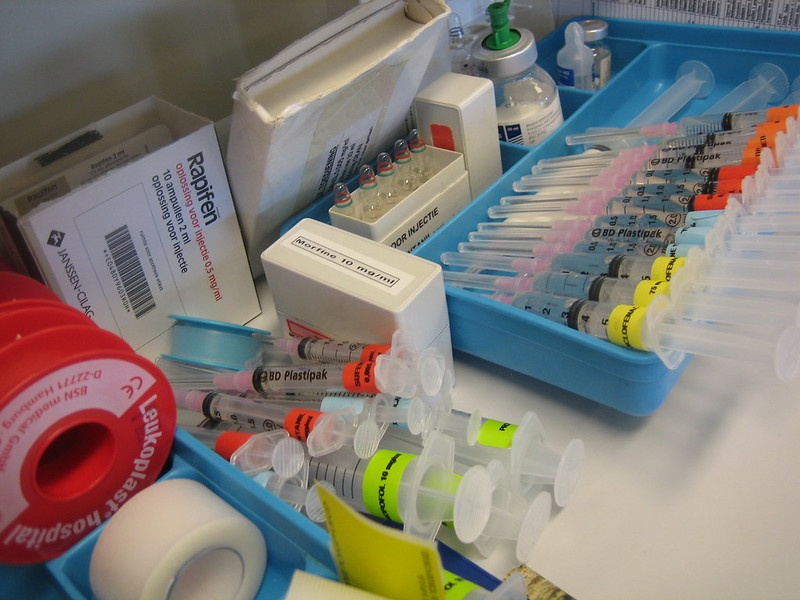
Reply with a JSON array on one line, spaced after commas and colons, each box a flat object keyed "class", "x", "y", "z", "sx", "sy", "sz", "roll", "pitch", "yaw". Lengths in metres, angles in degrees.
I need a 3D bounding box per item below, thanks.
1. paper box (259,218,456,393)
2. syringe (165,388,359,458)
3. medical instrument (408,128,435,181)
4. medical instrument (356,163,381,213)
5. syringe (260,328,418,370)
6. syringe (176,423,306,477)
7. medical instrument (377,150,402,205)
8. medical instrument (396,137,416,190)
[{"class": "paper box", "x": -0.074, "y": 0.015, "z": 1.010, "sx": 0.247, "sy": 0.224, "sz": 0.098, "roll": 31, "pitch": 61, "yaw": 21}, {"class": "syringe", "x": -0.213, "y": 0.193, "z": 0.943, "sx": 0.292, "sy": 0.067, "sz": 0.063, "roll": 11, "pitch": 23, "yaw": 41}, {"class": "medical instrument", "x": 0.035, "y": -0.299, "z": 1.225, "sx": 0.046, "sy": 0.093, "sz": 0.046, "roll": -27, "pitch": 35, "yaw": -31}, {"class": "medical instrument", "x": -0.060, "y": -0.209, "z": 1.174, "sx": 0.051, "sy": 0.104, "sz": 0.053, "roll": 0, "pitch": 11, "yaw": 35}, {"class": "syringe", "x": -0.096, "y": 0.081, "z": 1.007, "sx": 0.285, "sy": 0.053, "sz": 0.051, "roll": 3, "pitch": 16, "yaw": 37}, {"class": "syringe", "x": -0.231, "y": 0.204, "z": 0.920, "sx": 0.177, "sy": 0.049, "sz": 0.089, "roll": 11, "pitch": 28, "yaw": 31}, {"class": "medical instrument", "x": -0.028, "y": -0.240, "z": 1.195, "sx": 0.044, "sy": 0.100, "sz": 0.043, "roll": -5, "pitch": 24, "yaw": 6}, {"class": "medical instrument", "x": 0.007, "y": -0.269, "z": 1.209, "sx": 0.044, "sy": 0.099, "sz": 0.039, "roll": -13, "pitch": 28, "yaw": -8}]
